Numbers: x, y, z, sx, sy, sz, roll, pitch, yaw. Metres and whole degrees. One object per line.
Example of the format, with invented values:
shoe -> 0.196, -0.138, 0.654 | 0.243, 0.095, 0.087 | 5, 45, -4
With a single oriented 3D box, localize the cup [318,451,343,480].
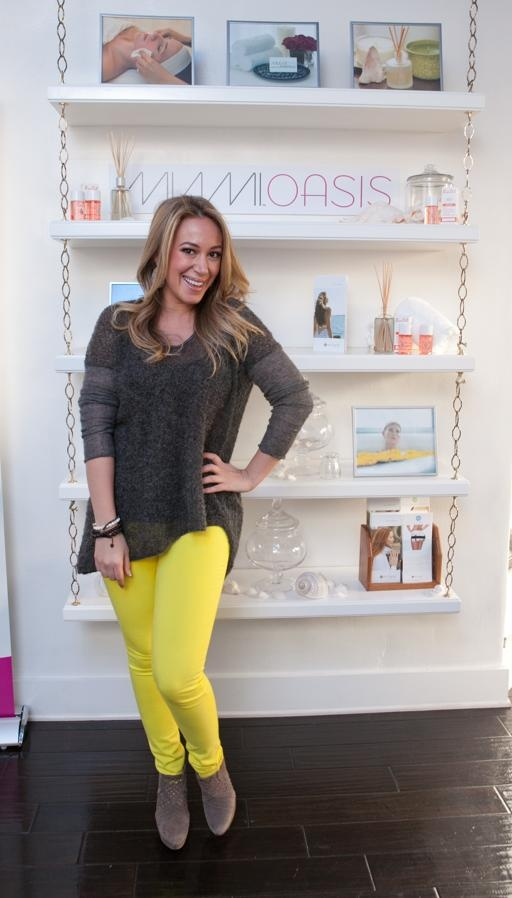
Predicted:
cup -> 0.222, 0.048, 2.110 | 0.058, 0.073, 0.074 | 2, 7, 8

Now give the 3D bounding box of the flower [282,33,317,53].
flower -> 0.124, -1.147, 1.993 | 0.065, 0.023, 0.073 | 14, 45, 7

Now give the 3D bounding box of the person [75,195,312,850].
person -> -0.144, 0.197, 1.623 | 0.481, 1.472, 0.313 | -3, 6, -32

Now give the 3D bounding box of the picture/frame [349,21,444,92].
picture/frame -> 0.395, -1.116, 2.011 | 0.267, 0.204, 0.011 | 0, -7, -2

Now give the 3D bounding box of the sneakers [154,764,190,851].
sneakers -> -0.200, 0.863, 1.687 | 0.057, 0.066, 0.177 | 0, 10, -4

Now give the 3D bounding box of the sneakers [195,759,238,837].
sneakers -> -0.087, 0.832, 1.713 | 0.067, 0.191, 0.077 | -17, -10, 14
